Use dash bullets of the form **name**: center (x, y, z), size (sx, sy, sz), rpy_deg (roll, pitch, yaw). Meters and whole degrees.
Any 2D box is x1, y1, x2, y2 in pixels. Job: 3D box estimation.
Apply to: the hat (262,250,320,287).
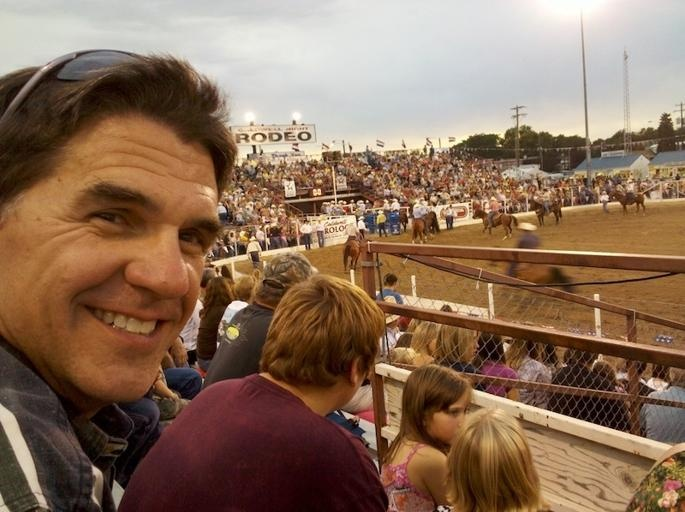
- **hat**: center (-0.417, 0.096, 3.638), size (0.329, 0.312, 0.243), rpy_deg (-9, 5, -25)
